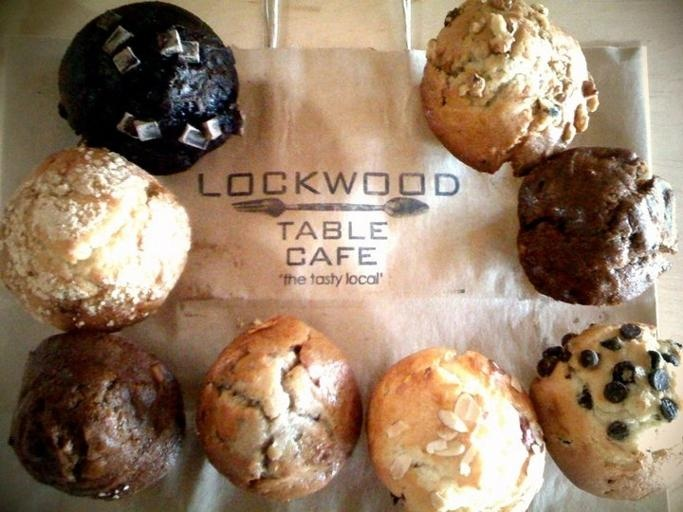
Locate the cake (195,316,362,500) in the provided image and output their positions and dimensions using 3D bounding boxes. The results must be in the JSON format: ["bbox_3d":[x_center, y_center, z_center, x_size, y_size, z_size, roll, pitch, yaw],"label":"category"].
[{"bbox_3d":[-0.201,0.504,2.501,0.534,0.136,0.545,40,81,4],"label":"cake"}]

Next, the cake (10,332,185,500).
[{"bbox_3d":[-0.797,0.504,2.507,0.514,0.192,0.489,13,80,0],"label":"cake"}]
